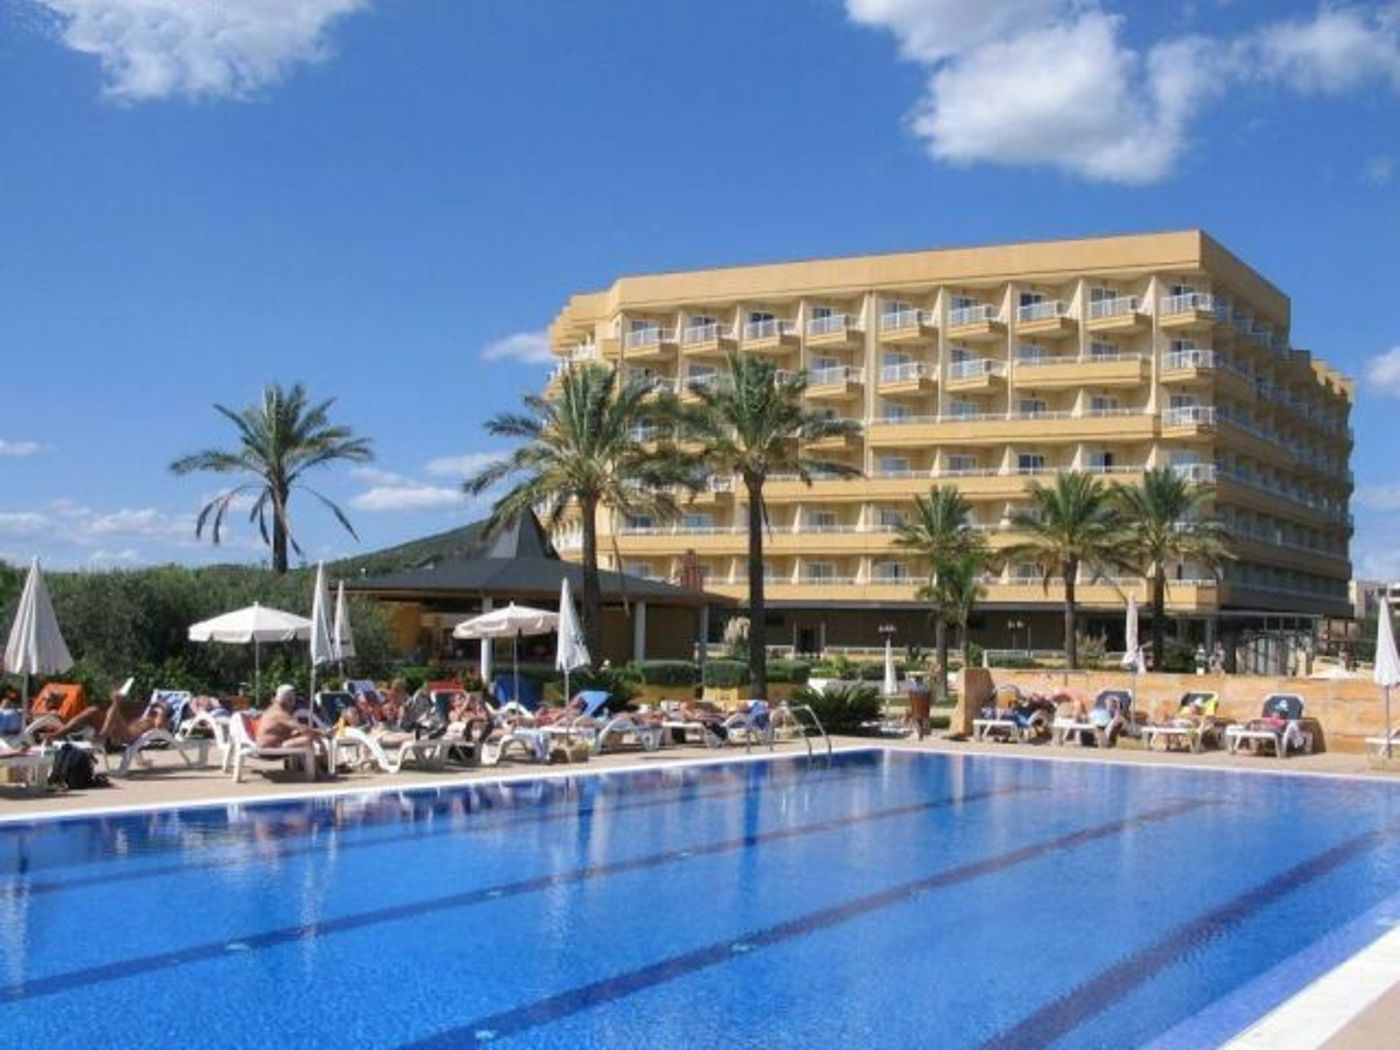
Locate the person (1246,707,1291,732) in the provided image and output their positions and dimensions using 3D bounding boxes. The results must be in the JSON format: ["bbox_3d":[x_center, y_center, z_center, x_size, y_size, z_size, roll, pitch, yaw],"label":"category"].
[{"bbox_3d":[10.774,3.700,23.598,0.687,0.448,1.356,2,-1,33],"label":"person"}]

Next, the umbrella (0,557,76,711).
[{"bbox_3d":[-9.130,1.571,17.255,0.808,1.888,2.054,3,0,-27],"label":"umbrella"}]
